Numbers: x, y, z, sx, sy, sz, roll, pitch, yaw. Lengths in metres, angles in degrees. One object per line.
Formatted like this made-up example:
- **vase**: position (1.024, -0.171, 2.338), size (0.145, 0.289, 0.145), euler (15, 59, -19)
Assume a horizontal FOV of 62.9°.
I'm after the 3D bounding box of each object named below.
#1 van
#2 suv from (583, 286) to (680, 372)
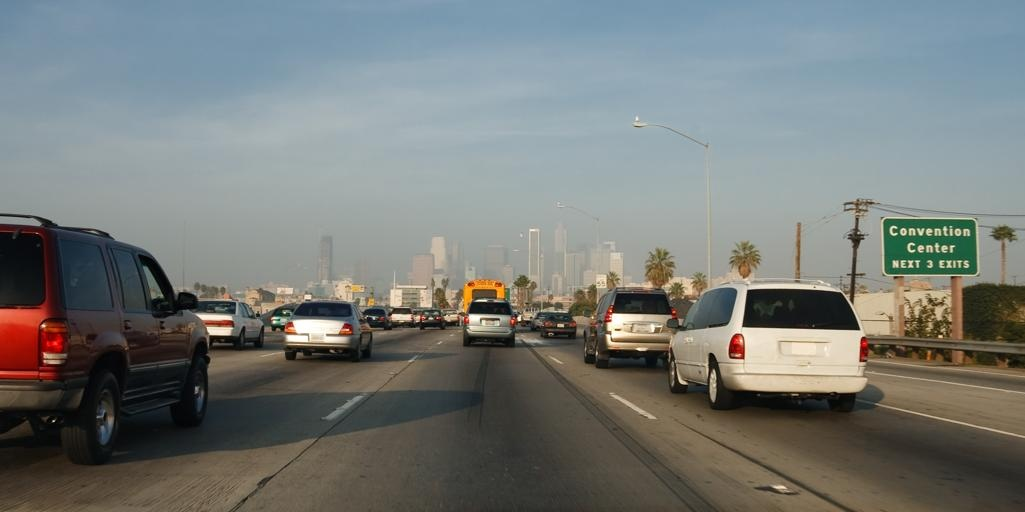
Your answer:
- **van**: position (6.468, 2.232, 22.435), size (4.050, 3.664, 9.286), euler (0, -2, -1)
- **suv**: position (4.276, 2.584, 30.835), size (3.005, 2.410, 5.361), euler (1, -3, -2)
